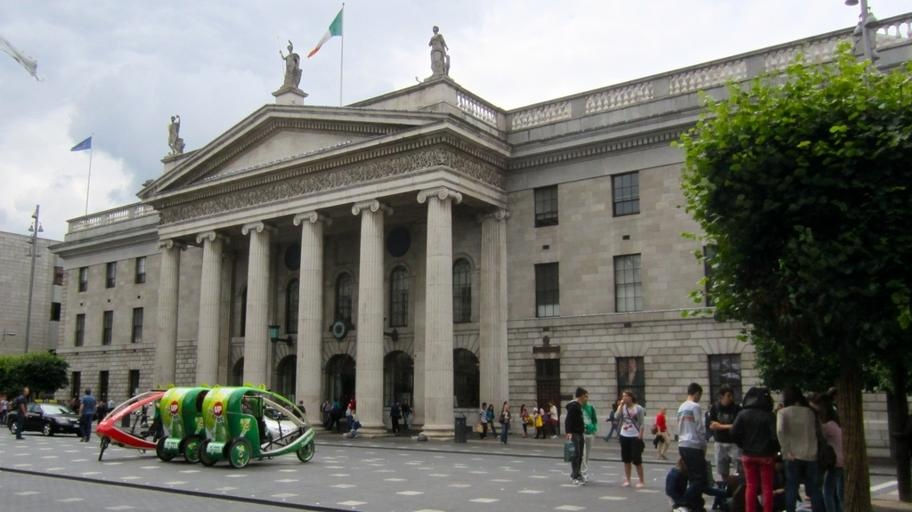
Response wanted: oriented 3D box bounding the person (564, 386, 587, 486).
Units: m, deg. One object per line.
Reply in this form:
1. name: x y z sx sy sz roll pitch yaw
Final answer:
1. person: 4.354 6.239 33.112 0.938 3.231 1.524 -7 -17 34

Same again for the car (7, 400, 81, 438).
1. car: -21.872 8.608 50.147 4.162 1.243 1.862 -13 -19 27

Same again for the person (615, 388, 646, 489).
1. person: 6.042 6.257 32.822 1.063 3.159 1.101 -7 -23 30
